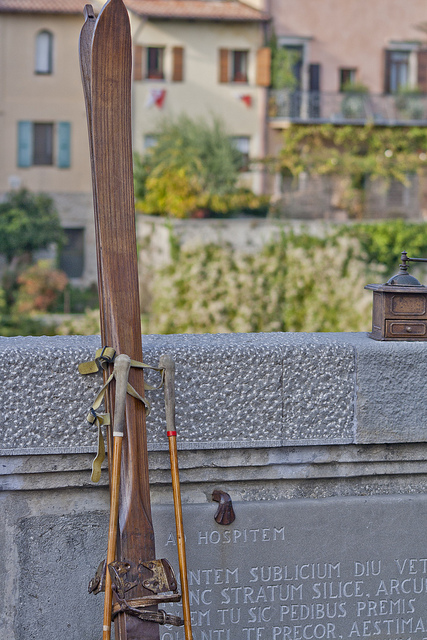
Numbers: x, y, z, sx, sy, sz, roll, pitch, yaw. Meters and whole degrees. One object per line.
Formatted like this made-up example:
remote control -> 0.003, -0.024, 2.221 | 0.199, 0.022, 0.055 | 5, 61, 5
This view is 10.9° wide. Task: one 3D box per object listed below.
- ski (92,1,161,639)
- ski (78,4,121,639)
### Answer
ski -> -0.304, 0.010, 8.213 | 0.206, 2.703, 0.242 | 0, 1, -38
ski -> -0.392, 0.088, 8.446 | 0.148, 2.524, 0.224 | -2, 8, -29
